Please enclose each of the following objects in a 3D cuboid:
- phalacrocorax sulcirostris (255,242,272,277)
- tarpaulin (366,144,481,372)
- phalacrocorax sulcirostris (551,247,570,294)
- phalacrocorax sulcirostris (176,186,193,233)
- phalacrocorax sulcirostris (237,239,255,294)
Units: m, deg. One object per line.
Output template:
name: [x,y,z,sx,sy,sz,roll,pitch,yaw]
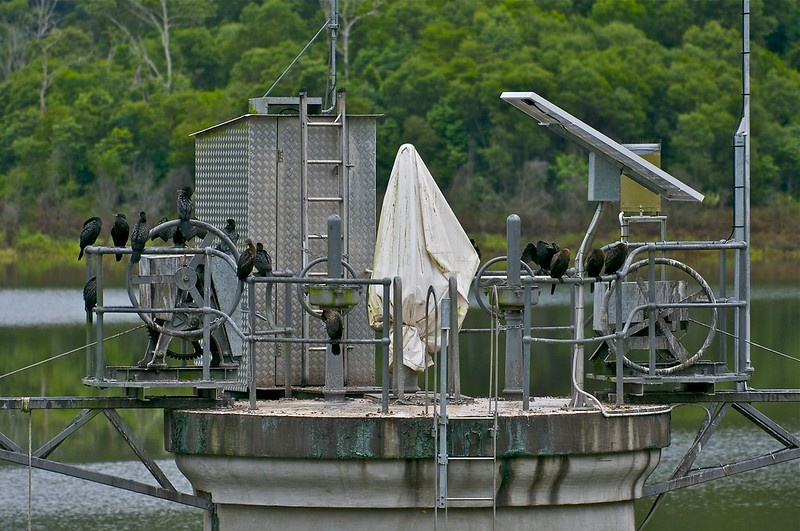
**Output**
phalacrocorax sulcirostris: [-4.972,-0.073,112.005,0.407,1.062,0.783,-30,13,-16]
tarpaulin: [0.848,-0.153,113.790,3.454,7.678,5.084,2,13,45]
phalacrocorax sulcirostris: [5.987,0.088,112.153,0.729,1.085,0.564,-1,7,2]
phalacrocorax sulcirostris: [-7.932,-1.890,112.572,0.507,1.597,0.716,1,2,3]
phalacrocorax sulcirostris: [-5.484,-0.054,111.898,0.711,2.010,0.692,22,44,21]
